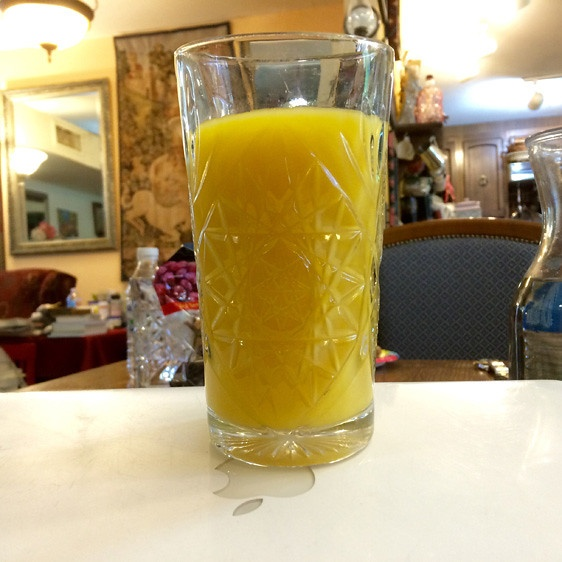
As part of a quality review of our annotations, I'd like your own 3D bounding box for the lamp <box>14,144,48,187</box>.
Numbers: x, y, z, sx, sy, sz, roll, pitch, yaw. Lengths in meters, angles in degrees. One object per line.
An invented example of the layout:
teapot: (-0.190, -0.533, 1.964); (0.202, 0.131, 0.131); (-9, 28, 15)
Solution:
lamp: (-1.654, -0.776, 3.562); (0.250, 0.137, 0.208); (0, -6, -2)
